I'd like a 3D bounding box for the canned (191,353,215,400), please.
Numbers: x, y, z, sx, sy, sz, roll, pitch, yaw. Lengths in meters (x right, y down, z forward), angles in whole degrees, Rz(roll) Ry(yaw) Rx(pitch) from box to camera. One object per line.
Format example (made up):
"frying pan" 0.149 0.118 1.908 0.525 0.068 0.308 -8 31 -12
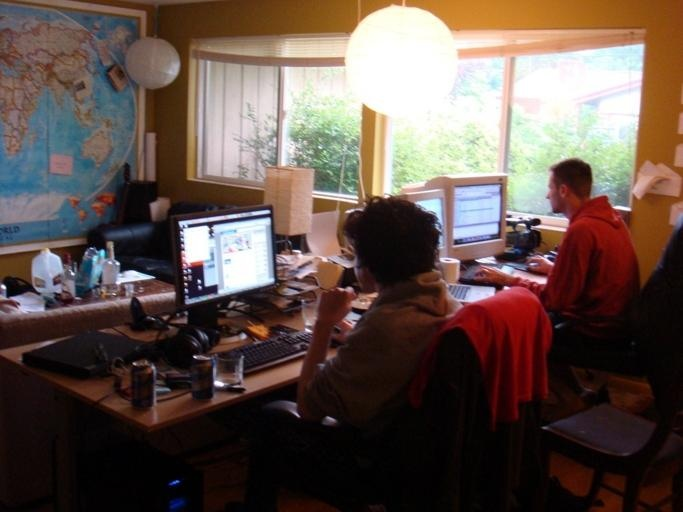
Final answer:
"canned" -0.531 0.446 2.074 0.086 0.150 0.151 -3 13 -9

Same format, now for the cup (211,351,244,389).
"cup" -0.434 0.442 2.152 0.124 0.134 0.127 2 5 0

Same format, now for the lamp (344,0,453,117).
"lamp" 0.310 -1.013 2.857 0.543 0.497 0.160 -1 13 2

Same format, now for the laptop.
"laptop" -1.064 0.401 2.271 0.411 0.080 0.314 3 14 17

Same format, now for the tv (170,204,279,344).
"tv" -0.552 0.097 2.581 0.206 0.568 0.583 7 14 38
